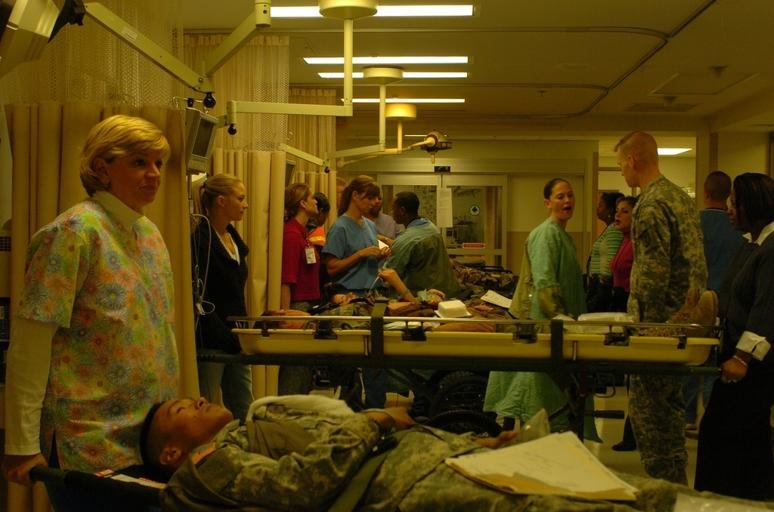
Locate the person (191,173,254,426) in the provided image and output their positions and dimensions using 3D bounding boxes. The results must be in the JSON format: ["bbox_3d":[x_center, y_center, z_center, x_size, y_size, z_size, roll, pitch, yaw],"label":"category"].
[{"bbox_3d":[-0.969,0.257,3.931,0.360,1.499,0.822,1,-2,-12],"label":"person"}]

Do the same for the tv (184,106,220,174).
[{"bbox_3d":[-0.984,-0.587,3.517,0.149,0.332,0.270,1,-3,-12],"label":"tv"}]

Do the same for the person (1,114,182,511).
[{"bbox_3d":[-1.211,0.152,2.796,0.663,1.478,0.298,2,-3,-23],"label":"person"}]
